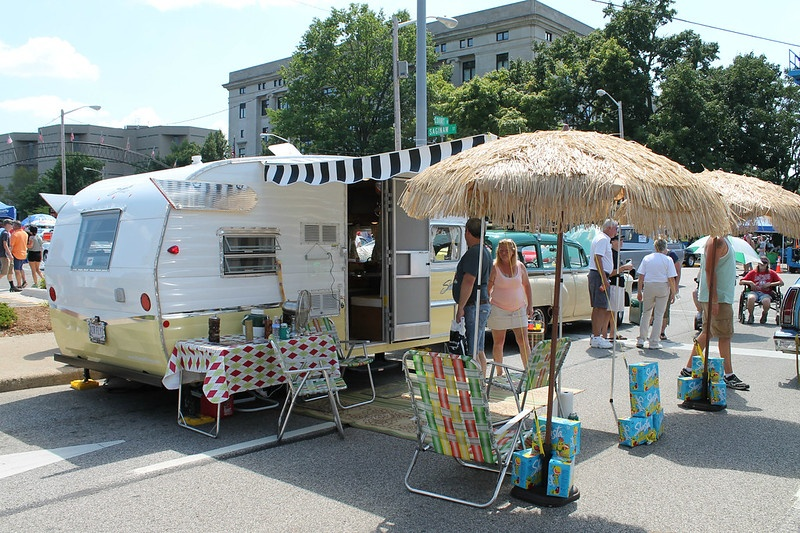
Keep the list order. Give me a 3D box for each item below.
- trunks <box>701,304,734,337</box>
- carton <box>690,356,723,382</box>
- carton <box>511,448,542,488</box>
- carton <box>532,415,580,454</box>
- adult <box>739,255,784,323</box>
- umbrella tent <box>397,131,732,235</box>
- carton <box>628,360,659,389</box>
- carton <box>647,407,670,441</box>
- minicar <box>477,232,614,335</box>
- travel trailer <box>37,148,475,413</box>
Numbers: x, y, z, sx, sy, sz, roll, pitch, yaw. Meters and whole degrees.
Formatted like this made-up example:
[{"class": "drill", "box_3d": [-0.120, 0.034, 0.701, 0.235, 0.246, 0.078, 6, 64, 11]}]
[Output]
[{"class": "trunks", "box_3d": [4.527, 0.767, 9.619, 0.327, 0.493, 0.534, -2, 1, -26]}, {"class": "carton", "box_3d": [4.285, 1.409, 9.424, 0.559, 0.382, 0.304, 0, -4, 31]}, {"class": "carton", "box_3d": [1.331, 2.102, 7.045, 0.258, 0.419, 0.451, 0, -3, 41]}, {"class": "carton", "box_3d": [1.624, 1.769, 7.076, 0.532, 0.436, 0.271, 0, -1, 44]}, {"class": "adult", "box_3d": [8.544, 0.558, 15.794, 1.024, 1.557, 1.318, 0, 4, 14]}, {"class": "umbrella tent", "box_3d": [1.940, -0.856, 7.385, 1.824, 0.578, 1.839, -1, -3, 44]}, {"class": "carton", "box_3d": [2.939, 1.294, 8.098, 0.283, 0.355, 0.519, 1, 2, 42]}, {"class": "carton", "box_3d": [3.180, 1.949, 8.334, 0.250, 0.415, 0.439, -2, 0, 29]}, {"class": "minicar", "box_3d": [2.745, 0.152, 13.282, 2.745, 1.268, 1.534, -1, 3, -40]}, {"class": "travel trailer", "box_3d": [-2.059, -0.068, 10.781, 5.266, 2.587, 3.646, -5, 6, -39]}]
